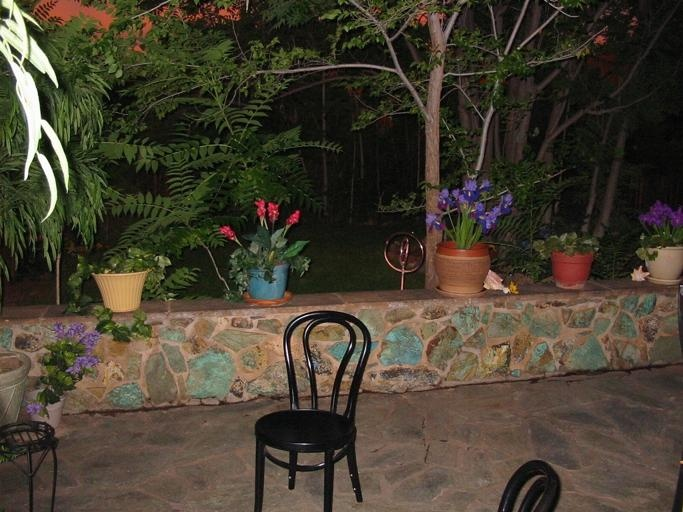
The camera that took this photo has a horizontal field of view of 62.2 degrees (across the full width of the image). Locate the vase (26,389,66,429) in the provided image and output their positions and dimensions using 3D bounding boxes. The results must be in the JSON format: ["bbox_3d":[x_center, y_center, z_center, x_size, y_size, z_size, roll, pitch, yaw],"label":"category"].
[{"bbox_3d":[-2.189,1.128,4.181,0.328,0.244,0.298,2,4,1],"label":"vase"}]

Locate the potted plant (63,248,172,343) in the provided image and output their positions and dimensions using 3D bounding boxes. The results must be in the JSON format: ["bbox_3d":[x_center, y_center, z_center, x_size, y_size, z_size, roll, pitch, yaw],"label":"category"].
[{"bbox_3d":[-1.837,0.340,4.801,0.854,0.551,0.724,0,-4,-6],"label":"potted plant"}]

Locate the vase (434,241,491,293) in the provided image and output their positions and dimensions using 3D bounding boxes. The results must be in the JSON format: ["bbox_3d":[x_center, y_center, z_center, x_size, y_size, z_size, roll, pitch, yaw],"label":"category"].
[{"bbox_3d":[1.130,0.126,5.312,0.541,0.444,0.564,2,9,12],"label":"vase"}]

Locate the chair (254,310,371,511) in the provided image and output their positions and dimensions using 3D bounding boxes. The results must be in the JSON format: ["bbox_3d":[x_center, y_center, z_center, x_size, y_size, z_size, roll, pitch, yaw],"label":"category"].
[{"bbox_3d":[-0.180,0.939,3.670,0.690,1.271,1.231,2,9,2],"label":"chair"}]

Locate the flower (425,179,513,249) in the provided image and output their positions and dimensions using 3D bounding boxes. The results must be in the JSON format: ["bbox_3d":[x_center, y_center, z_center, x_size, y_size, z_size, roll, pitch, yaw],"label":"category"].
[{"bbox_3d":[1.098,-0.369,5.300,0.720,0.611,0.653,5,-3,-7],"label":"flower"}]

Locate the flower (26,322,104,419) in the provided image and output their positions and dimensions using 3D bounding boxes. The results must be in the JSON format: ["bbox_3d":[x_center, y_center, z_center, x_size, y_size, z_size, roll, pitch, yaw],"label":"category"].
[{"bbox_3d":[-2.166,0.871,4.380,0.522,0.781,0.492,12,16,-26],"label":"flower"}]

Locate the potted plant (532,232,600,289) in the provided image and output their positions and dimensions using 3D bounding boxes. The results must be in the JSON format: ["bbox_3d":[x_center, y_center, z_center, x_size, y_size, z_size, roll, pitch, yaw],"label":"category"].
[{"bbox_3d":[2.197,0.054,5.460,0.585,0.451,0.568,-2,1,40],"label":"potted plant"}]
